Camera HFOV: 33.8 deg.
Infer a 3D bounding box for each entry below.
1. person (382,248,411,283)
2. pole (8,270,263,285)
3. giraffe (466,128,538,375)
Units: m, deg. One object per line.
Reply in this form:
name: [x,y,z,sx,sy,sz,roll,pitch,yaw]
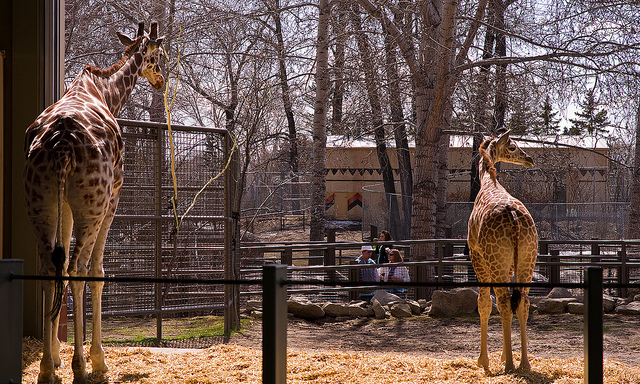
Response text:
person: [2.072,2.046,29.216,0.533,1.397,0.762,9,-13,-38]
pole: [-3.878,1.706,21.536,4.974,0.376,0.569,-2,-4,8]
giraffe: [4.202,1.251,24.433,2.157,5.111,2.562,2,0,8]
